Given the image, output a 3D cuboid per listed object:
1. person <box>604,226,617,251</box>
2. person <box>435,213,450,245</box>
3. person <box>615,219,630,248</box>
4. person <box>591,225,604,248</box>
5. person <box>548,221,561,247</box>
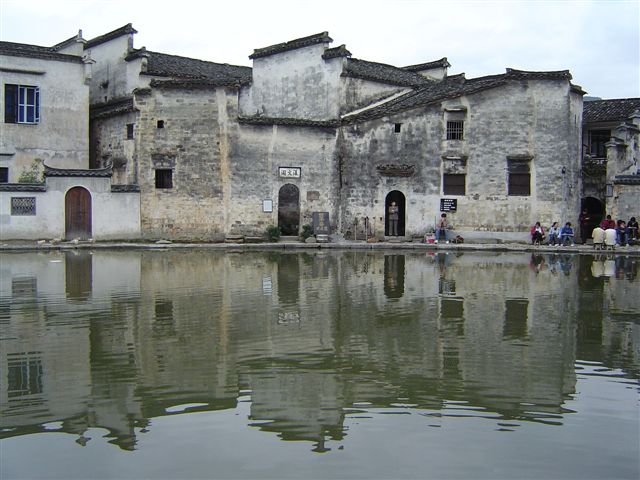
[{"bbox_3d":[10.247,-0.029,30.152,0.380,0.683,0.728,5,13,22],"label":"person"},{"bbox_3d":[4.771,-0.435,33.316,0.502,1.079,0.915,2,12,8],"label":"person"},{"bbox_3d":[11.334,-0.238,32.000,0.440,0.925,0.612,4,13,18],"label":"person"},{"bbox_3d":[9.877,-0.042,30.236,0.364,0.751,0.557,4,13,16],"label":"person"},{"bbox_3d":[8.967,-0.272,32.644,0.387,0.844,1.015,4,13,15],"label":"person"}]
